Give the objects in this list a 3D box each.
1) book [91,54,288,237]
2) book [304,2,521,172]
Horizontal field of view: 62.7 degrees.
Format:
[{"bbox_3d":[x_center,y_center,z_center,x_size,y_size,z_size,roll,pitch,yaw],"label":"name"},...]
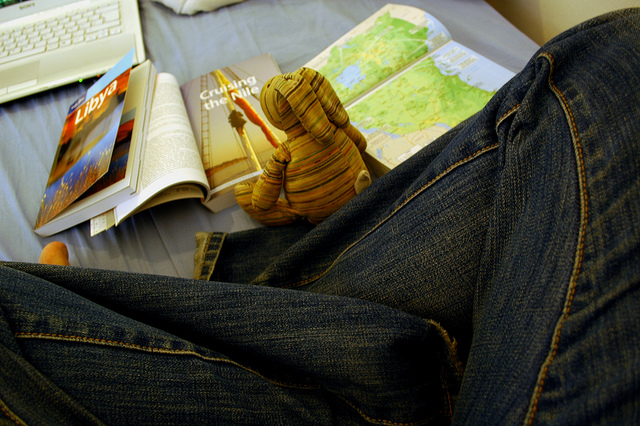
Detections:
[{"bbox_3d":[-0.258,-0.193,1.251,0.521,0.109,0.366,-25,42,-6],"label":"book"},{"bbox_3d":[0.210,-0.323,1.263,0.404,0.057,0.560,-38,55,-9],"label":"book"}]
